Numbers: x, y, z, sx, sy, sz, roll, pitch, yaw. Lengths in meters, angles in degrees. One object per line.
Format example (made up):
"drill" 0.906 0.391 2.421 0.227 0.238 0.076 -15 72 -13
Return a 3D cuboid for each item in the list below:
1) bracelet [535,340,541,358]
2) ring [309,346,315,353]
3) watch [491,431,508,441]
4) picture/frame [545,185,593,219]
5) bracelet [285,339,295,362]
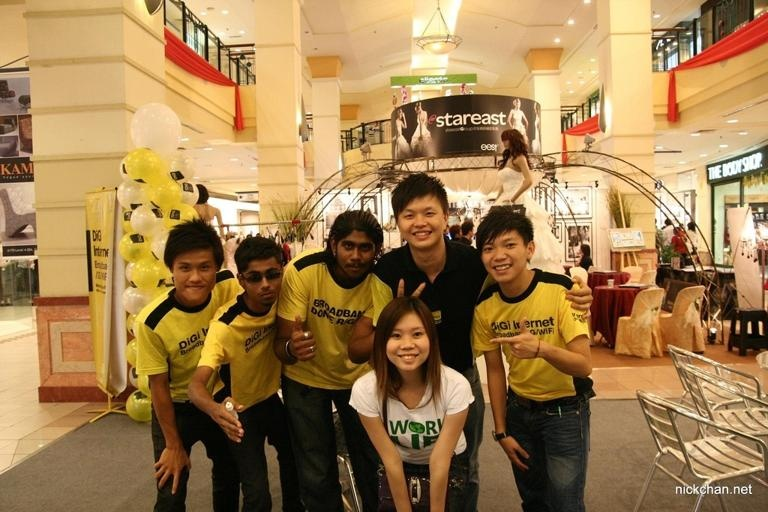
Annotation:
"bracelet" 1.154 0.683 4.049 0.041 0.113 0.026 -2 -2 -6
"ring" -0.572 0.728 4.278 0.038 0.040 0.039 0 -10 0
"watch" 0.936 1.431 4.344 0.101 0.075 0.094 -4 -16 -35
"picture/frame" 5.125 -1.489 14.802 1.537 1.127 0.072 1 3 21
"bracelet" -0.760 0.758 4.351 0.087 0.189 0.168 -2 -3 -11
